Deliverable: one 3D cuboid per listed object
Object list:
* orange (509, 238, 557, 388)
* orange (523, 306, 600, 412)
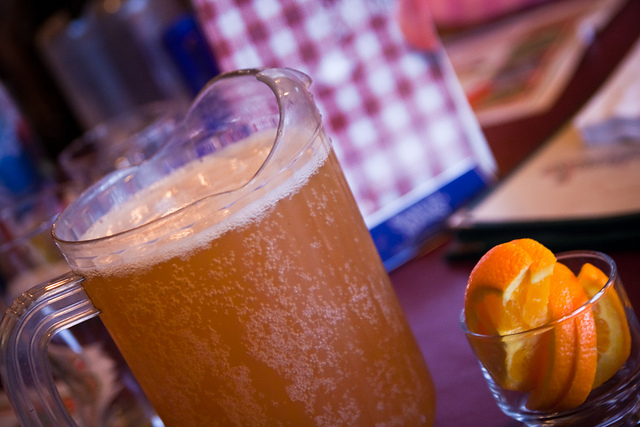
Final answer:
[{"bbox_3d":[0.179,0.061,0.459,0.039,0.037,0.174,-8,10,23],"label":"orange"},{"bbox_3d":[0.209,0.125,0.461,0.049,0.084,0.063,10,49,14],"label":"orange"}]
